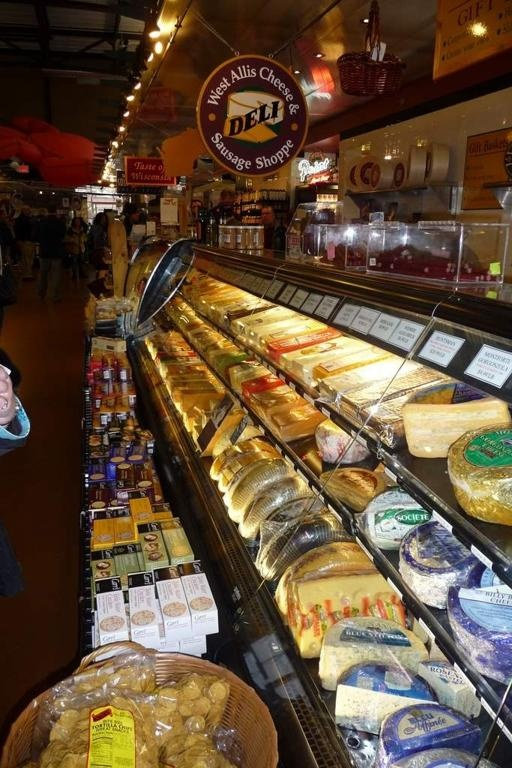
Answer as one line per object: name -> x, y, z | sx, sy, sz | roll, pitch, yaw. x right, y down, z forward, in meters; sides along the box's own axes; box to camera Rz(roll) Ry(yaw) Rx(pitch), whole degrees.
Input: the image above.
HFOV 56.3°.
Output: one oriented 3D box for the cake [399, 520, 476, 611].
cake -> 0.300, 0.305, 0.788 | 0.121, 0.043, 0.120 | -21, 19, -2
